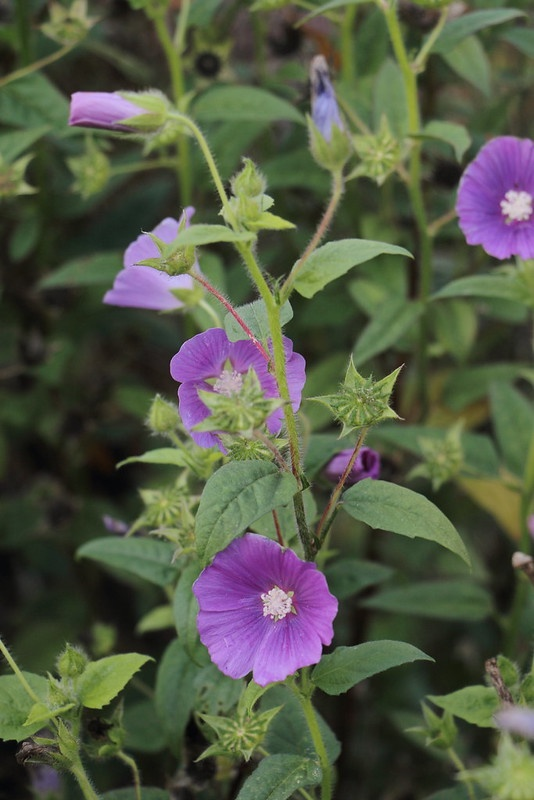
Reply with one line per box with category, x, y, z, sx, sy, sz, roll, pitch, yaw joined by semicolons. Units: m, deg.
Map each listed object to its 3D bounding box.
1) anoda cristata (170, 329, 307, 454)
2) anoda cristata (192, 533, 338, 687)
anoda cristata;-0.035;-0.001;0.946;0.150;0.299;0.125;1;65;-2
anoda cristata;-0.001;0.234;0.910;0.179;0.068;0.167;-17;79;8
